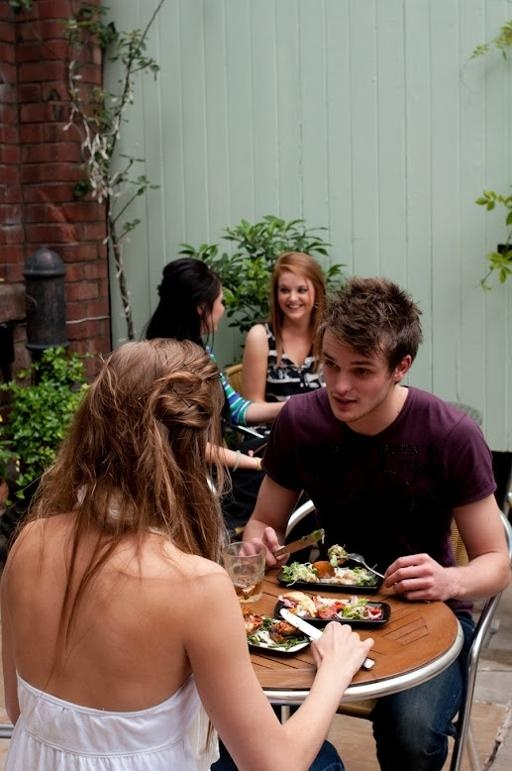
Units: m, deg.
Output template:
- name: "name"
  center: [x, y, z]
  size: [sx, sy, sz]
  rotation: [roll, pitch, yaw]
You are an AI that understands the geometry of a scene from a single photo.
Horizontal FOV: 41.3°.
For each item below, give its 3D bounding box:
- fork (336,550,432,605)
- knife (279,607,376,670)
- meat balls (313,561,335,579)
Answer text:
- name: "fork"
  center: [0.293, 0.423, 1.522]
  size: [0.058, 0.062, 0.321]
  rotation: [18, -10, -22]
- name: "knife"
  center: [0.108, 0.456, 1.241]
  size: [0.048, 0.018, 0.346]
  rotation: [-28, 7, -12]
- name: "meat balls"
  center: [0.150, 0.408, 1.494]
  size: [0.030, 0.020, 0.036]
  rotation: [16, -1, -38]
